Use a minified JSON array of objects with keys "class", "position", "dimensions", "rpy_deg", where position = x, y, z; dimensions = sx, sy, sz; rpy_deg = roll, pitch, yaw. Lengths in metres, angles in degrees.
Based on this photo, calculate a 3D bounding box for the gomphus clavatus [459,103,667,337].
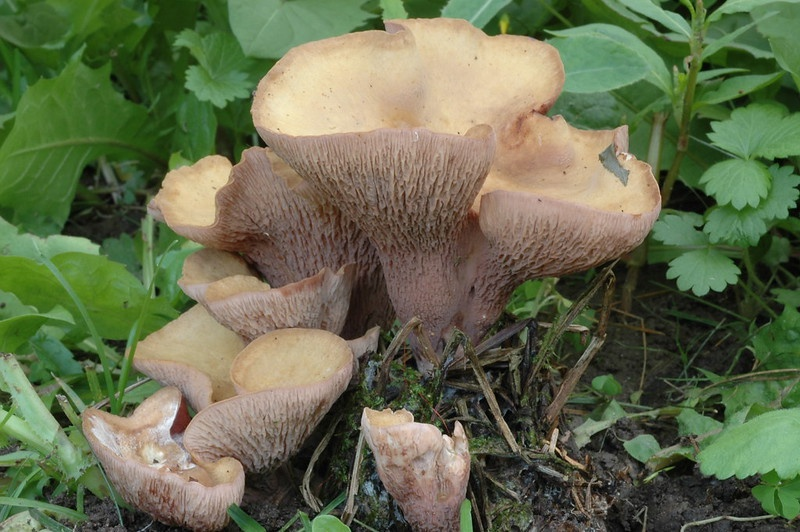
[{"class":"gomphus clavatus","position":[0.520,-0.168,2.869],"dimensions":[0.648,0.565,0.617],"rpy_deg":[-2,57,-2]}]

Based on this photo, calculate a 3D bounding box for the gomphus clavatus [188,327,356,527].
[{"class":"gomphus clavatus","position":[-0.269,0.425,2.617],"dimensions":[0.508,0.284,0.591],"rpy_deg":[-3,13,21]}]
